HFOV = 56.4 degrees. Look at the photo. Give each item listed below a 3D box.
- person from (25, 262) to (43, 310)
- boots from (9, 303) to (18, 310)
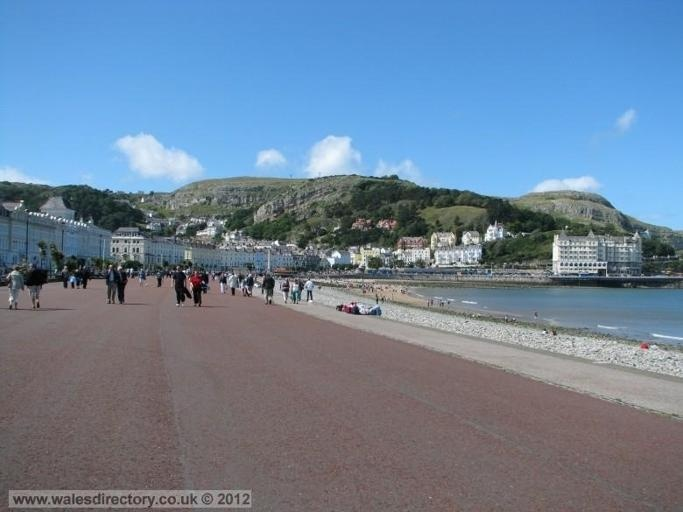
[{"bbox_3d":[-14.310,1.481,29.540,0.966,1.903,0.791,2,-2,7],"label":"person"},{"bbox_3d":[-13.183,2.016,25.564,0.235,0.212,0.274,-2,-7,8],"label":"boots"}]
